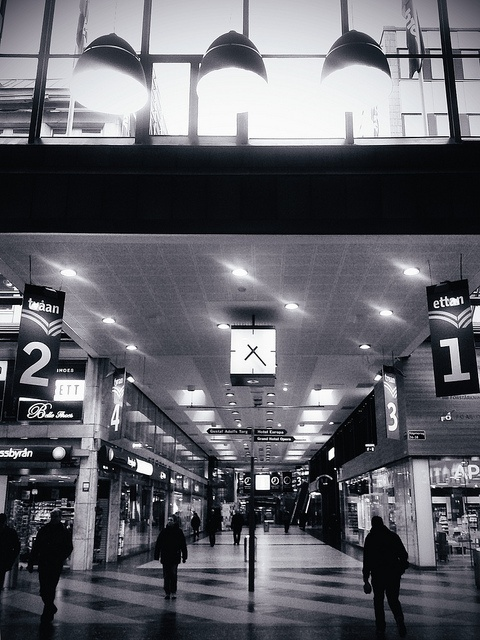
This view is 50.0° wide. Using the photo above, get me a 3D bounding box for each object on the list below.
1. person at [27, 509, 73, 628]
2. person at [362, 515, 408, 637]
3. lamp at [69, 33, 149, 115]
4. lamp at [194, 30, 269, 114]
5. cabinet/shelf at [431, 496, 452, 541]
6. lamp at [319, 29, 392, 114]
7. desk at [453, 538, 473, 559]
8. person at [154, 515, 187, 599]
[{"bbox_3d":[-2.460,3.179,6.767,0.536,1.305,0.724,12,-20,-38],"label":"person"},{"bbox_3d":[1.604,2.789,5.691,0.478,1.159,0.550,-7,-17,22],"label":"person"},{"bbox_3d":[-1.223,-2.499,5.059,0.606,0.907,0.754,5,-29,-8],"label":"lamp"},{"bbox_3d":[-0.072,-2.435,4.920,0.483,0.730,0.601,4,-24,-4],"label":"lamp"},{"bbox_3d":[4.948,4.826,12.660,0.484,0.972,0.148,5,-16,-19],"label":"cabinet/shelf"},{"bbox_3d":[1.087,-2.514,4.954,0.501,0.751,0.622,2,-18,-2],"label":"lamp"},{"bbox_3d":[5.425,5.490,12.632,0.381,0.526,0.393,2,-8,2],"label":"desk"},{"bbox_3d":[-1.163,3.977,8.762,0.463,1.497,0.343,0,2,-9],"label":"person"}]
